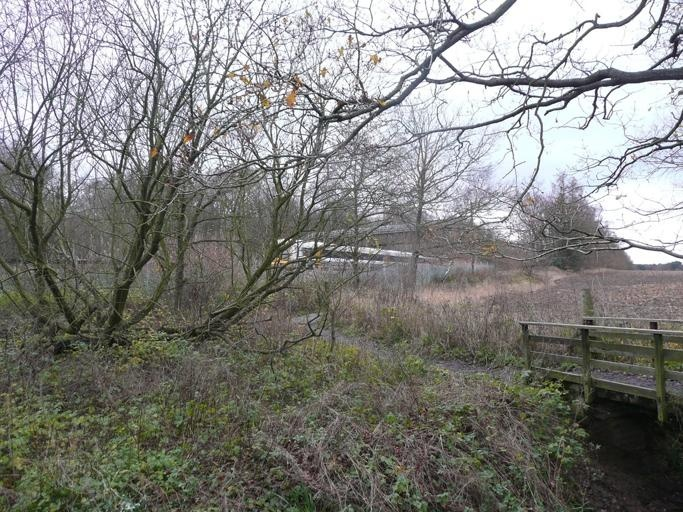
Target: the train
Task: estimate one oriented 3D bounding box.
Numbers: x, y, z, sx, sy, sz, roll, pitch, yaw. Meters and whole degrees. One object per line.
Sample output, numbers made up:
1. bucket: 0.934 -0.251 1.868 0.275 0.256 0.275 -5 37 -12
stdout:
1. train: 1.370 -0.034 17.663 1.995 0.566 16.744 2 -1 13
